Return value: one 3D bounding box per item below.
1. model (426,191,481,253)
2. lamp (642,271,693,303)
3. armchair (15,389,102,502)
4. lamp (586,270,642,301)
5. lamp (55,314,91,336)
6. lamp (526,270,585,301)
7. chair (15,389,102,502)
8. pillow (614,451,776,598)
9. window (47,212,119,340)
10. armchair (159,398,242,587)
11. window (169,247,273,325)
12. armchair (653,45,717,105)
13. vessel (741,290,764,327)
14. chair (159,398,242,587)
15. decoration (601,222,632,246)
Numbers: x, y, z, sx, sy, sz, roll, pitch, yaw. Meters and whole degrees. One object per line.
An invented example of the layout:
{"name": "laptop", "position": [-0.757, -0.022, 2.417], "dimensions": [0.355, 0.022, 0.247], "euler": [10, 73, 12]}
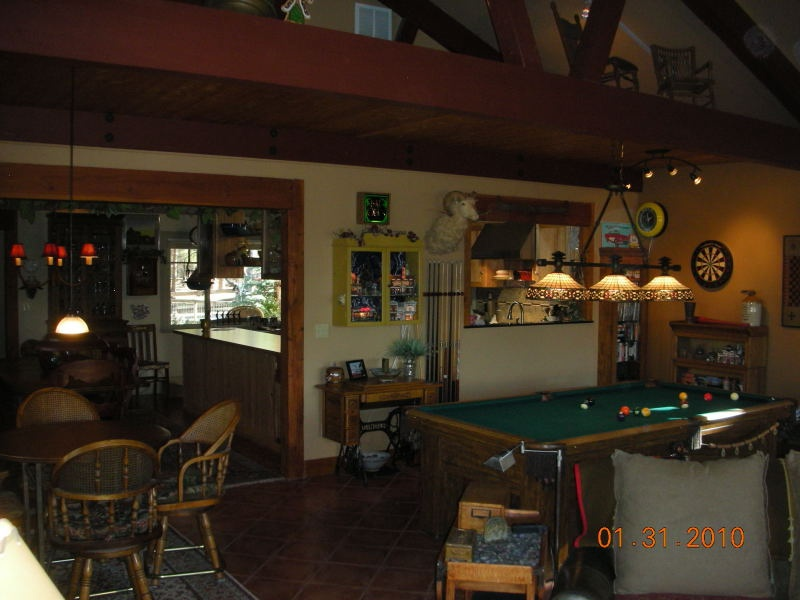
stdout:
{"name": "model", "position": [0.581, -0.847, 7.181], "dimensions": [0.288, 0.684, 0.602], "euler": [-4, 7, -40]}
{"name": "lamp", "position": [2.145, -0.093, 5.170], "dimensions": [0.419, 0.205, 0.282], "euler": [-3, 6, -33]}
{"name": "armchair", "position": [-2.725, 0.944, 5.039], "dimensions": [0.445, 0.607, 0.465], "euler": [-28, -26, 38]}
{"name": "lamp", "position": [1.728, -0.100, 5.108], "dimensions": [0.318, 0.200, 0.434], "euler": [5, 7, 37]}
{"name": "lamp", "position": [-2.463, 0.208, 4.907], "dimensions": [0.194, 0.116, 0.197], "euler": [0, -1, -1]}
{"name": "lamp", "position": [1.232, -0.105, 5.161], "dimensions": [0.425, 0.253, 0.515], "euler": [0, 5, -9]}
{"name": "chair", "position": [-2.593, 1.025, 4.911], "dimensions": [0.511, 0.671, 0.544], "euler": [-4, -3, 4]}
{"name": "pillow", "position": [1.540, 1.207, 3.374], "dimensions": [0.658, 0.647, 0.250], "euler": [0, -19, 6]}
{"name": "window", "position": [-5.033, -0.334, 10.280], "dimensions": [1.111, 2.094, 0.260], "euler": [-2, 8, -38]}
{"name": "armchair", "position": [-1.556, 1.346, 4.583], "dimensions": [0.795, 1.144, 0.698], "euler": [1, 0, -24]}
{"name": "window", "position": [-3.082, -0.237, 10.780], "dimensions": [1.285, 0.920, 0.092], "euler": [-2, 5, -39]}
{"name": "armchair", "position": [3.093, -2.464, 7.014], "dimensions": [0.542, 0.792, 0.545], "euler": [4, 39, 28]}
{"name": "vessel", "position": [4.399, 0.104, 8.039], "dimensions": [0.277, 0.427, 0.219], "euler": [6, 7, 44]}
{"name": "chair", "position": [-1.558, 1.345, 4.573], "dimensions": [0.807, 1.157, 0.719], "euler": [1, 0, -18]}
{"name": "decoration", "position": [3.063, -0.905, 9.024], "dimensions": [0.666, 0.352, 0.075], "euler": [-3, 6, -35]}
